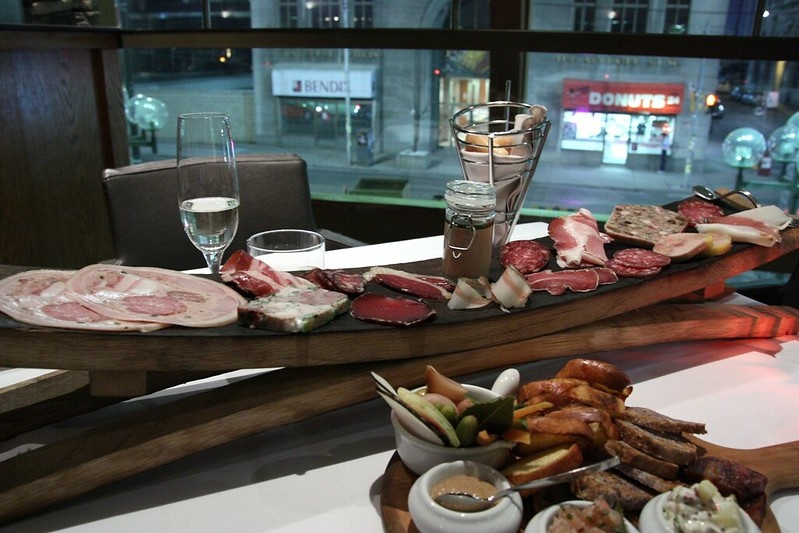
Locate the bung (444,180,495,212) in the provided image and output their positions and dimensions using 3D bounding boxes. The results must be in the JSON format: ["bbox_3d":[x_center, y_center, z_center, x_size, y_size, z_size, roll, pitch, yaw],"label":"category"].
[{"bbox_3d":[0.163,-0.153,1.205,0.112,0.041,0.087,2,10,1],"label":"bung"}]

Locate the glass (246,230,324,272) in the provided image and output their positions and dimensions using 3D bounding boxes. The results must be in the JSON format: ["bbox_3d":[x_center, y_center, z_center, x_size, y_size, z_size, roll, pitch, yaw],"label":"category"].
[{"bbox_3d":[-0.263,-0.047,1.295,0.164,0.064,0.132,0,9,-1],"label":"glass"}]

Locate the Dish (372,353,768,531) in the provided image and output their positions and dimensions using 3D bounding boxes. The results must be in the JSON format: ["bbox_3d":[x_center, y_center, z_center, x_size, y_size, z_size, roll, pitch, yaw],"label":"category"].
[{"bbox_3d":[0.352,0.334,1.022,0.538,0.020,0.352,11,22,22],"label":"Dish"}]

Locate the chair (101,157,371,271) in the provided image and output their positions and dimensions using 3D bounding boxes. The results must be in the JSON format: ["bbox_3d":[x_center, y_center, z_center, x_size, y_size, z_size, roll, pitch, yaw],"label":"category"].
[{"bbox_3d":[-0.713,-0.261,2.270,0.672,0.580,0.612,-8,11,-26],"label":"chair"}]

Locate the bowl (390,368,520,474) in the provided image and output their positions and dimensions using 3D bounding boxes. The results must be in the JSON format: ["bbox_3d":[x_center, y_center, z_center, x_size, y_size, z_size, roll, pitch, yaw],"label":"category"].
[{"bbox_3d":[0.107,0.296,1.003,0.258,0.163,0.161,-3,21,-6],"label":"bowl"}]

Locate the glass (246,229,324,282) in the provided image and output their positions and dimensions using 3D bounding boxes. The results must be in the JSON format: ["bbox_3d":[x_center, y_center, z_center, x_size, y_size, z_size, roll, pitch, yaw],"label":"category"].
[{"bbox_3d":[-0.267,-0.025,1.330,0.166,0.064,0.131,0,10,0],"label":"glass"}]
